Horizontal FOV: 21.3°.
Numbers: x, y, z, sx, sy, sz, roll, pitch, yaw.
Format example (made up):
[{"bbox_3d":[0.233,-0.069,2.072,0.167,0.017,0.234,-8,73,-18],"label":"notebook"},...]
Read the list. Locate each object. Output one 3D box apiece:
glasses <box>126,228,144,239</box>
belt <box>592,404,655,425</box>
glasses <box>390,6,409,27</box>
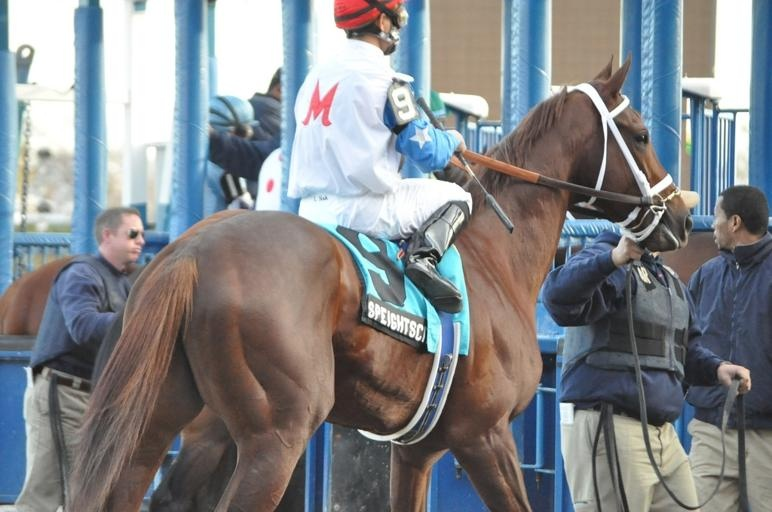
[{"bbox_3d":[-2.396,-0.207,19.725,0.089,0.069,0.090,-4,13,-30],"label":"glasses"},{"bbox_3d":[2.253,1.456,18.608,0.341,0.087,0.259,15,-5,11],"label":"belt"},{"bbox_3d":[0.164,-2.142,18.414,0.137,0.187,0.164,-14,10,-7],"label":"glasses"}]
